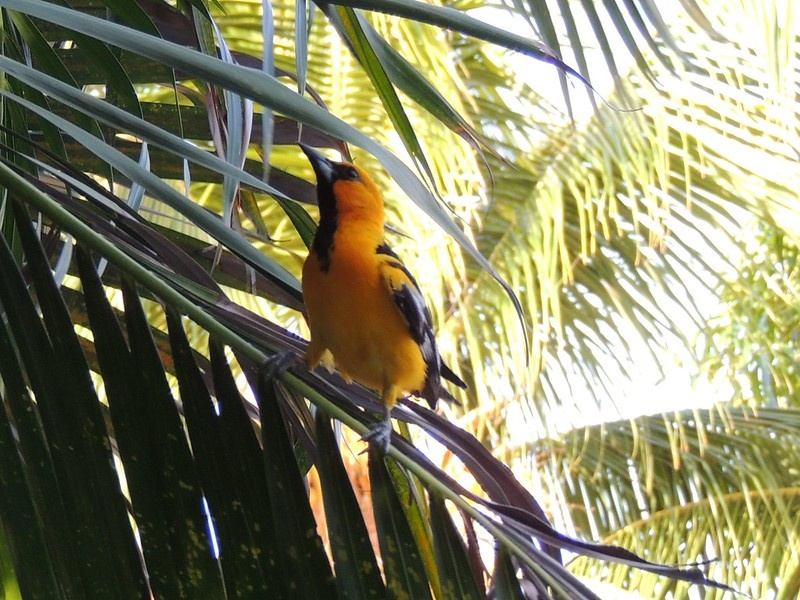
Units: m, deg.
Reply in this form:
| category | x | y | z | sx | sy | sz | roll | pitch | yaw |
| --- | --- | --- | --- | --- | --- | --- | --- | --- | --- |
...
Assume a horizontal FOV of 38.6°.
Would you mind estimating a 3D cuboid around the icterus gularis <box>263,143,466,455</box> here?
| category | x | y | z | sx | sy | sz | roll | pitch | yaw |
| --- | --- | --- | --- | --- | --- | --- | --- | --- | --- |
| icterus gularis | -0.081 | 0.019 | 4.326 | 0.451 | 0.944 | 0.929 | -4 | -13 | 33 |
